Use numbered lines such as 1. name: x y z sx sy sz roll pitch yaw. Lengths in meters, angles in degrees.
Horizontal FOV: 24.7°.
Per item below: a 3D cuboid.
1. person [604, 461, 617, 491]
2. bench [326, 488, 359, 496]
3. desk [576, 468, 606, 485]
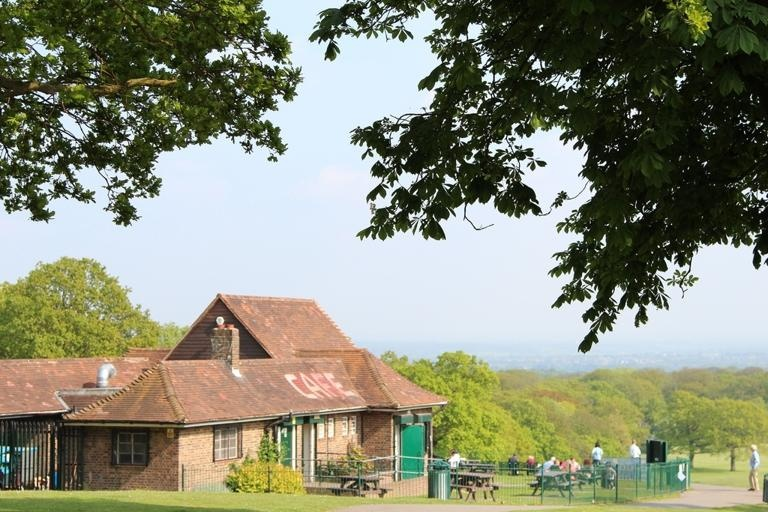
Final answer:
1. person: 12.373 11.703 94.217 0.795 1.478 1.132 -7 -16 18
2. bench: -2.044 12.270 92.093 1.661 0.480 1.054 2 -16 -15
3. desk: 11.217 11.715 93.914 0.881 0.659 1.304 2 1 11
